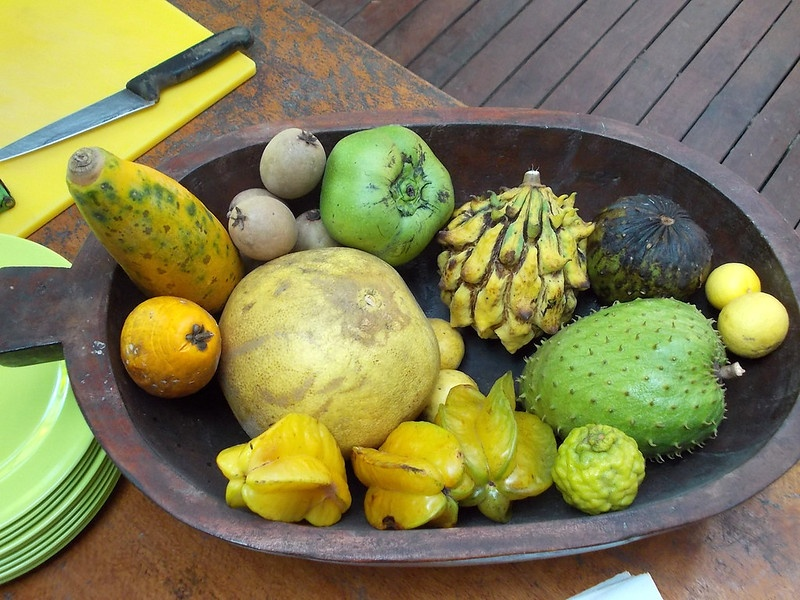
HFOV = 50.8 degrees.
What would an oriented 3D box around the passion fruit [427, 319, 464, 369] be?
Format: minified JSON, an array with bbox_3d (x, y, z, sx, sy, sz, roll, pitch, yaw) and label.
[{"bbox_3d":[0.106,0.102,1.930,0.076,0.057,0.111,-15,88,0],"label":"passion fruit"}]

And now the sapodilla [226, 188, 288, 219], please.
[{"bbox_3d":[-0.332,-0.225,1.873,0.089,0.054,0.080,28,52,14],"label":"sapodilla"}]

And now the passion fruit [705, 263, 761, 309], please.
[{"bbox_3d":[0.731,-0.035,1.864,0.106,0.098,0.109,4,26,19],"label":"passion fruit"}]

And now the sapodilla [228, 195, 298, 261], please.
[{"bbox_3d":[-0.285,-0.181,1.860,0.142,0.136,0.145,11,104,18],"label":"sapodilla"}]

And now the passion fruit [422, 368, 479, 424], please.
[{"bbox_3d":[0.096,0.194,1.904,0.099,0.120,0.125,29,36,36],"label":"passion fruit"}]

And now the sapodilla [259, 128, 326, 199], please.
[{"bbox_3d":[-0.252,-0.293,1.897,0.113,0.119,0.156,-2,90,-13],"label":"sapodilla"}]

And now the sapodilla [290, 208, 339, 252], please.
[{"bbox_3d":[-0.198,-0.151,1.915,0.083,0.090,0.118,0,90,14],"label":"sapodilla"}]
